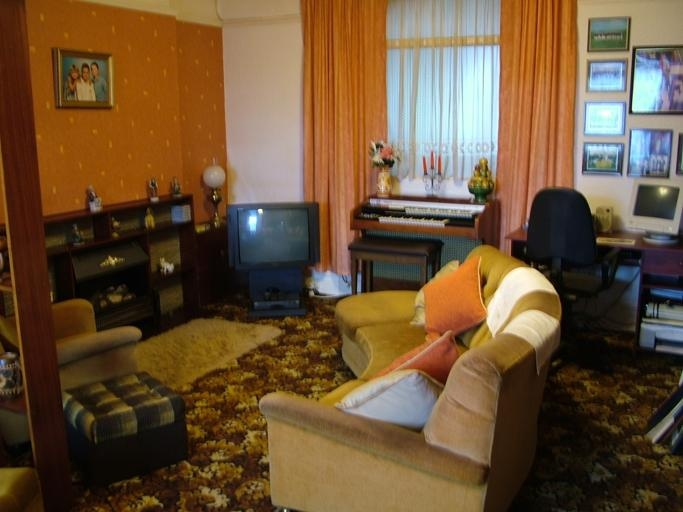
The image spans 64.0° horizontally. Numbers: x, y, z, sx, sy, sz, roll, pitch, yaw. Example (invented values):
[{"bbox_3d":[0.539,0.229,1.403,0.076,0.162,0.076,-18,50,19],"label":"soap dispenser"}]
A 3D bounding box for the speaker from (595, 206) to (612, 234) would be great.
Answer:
[{"bbox_3d":[2.250,-0.300,4.704,0.176,0.282,0.094,7,11,38],"label":"speaker"}]

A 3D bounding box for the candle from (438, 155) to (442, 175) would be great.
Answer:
[{"bbox_3d":[0.952,-0.881,5.353,0.038,0.200,0.103,2,14,16],"label":"candle"}]

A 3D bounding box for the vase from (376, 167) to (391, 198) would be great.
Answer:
[{"bbox_3d":[0.417,-0.745,5.478,0.132,0.284,0.085,-5,13,-10],"label":"vase"}]

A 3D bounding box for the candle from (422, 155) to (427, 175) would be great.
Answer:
[{"bbox_3d":[0.823,-0.890,5.424,0.046,0.190,0.044,0,13,10],"label":"candle"}]

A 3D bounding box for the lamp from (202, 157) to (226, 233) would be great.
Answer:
[{"bbox_3d":[-1.370,-0.673,5.852,0.234,0.668,0.441,-6,14,-15],"label":"lamp"}]

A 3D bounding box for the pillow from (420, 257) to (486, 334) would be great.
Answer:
[{"bbox_3d":[0.699,0.265,3.421,0.131,0.476,0.442,20,-33,-26],"label":"pillow"}]

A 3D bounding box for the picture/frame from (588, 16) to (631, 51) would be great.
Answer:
[{"bbox_3d":[2.274,-1.883,4.616,0.255,0.260,0.029,3,18,17],"label":"picture/frame"}]

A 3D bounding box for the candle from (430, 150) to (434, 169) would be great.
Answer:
[{"bbox_3d":[0.888,-0.936,5.355,0.036,0.181,0.129,3,15,20],"label":"candle"}]

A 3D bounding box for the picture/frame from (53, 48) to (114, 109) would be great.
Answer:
[{"bbox_3d":[-2.088,-1.420,4.363,0.035,0.396,0.493,3,9,24],"label":"picture/frame"}]

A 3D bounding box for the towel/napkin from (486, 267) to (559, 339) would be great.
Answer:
[{"bbox_3d":[1.046,0.244,3.052,0.261,0.343,0.339,12,21,-4],"label":"towel/napkin"}]

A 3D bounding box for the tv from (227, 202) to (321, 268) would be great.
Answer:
[{"bbox_3d":[-0.661,-0.207,5.234,0.918,0.804,0.551,-1,6,-5],"label":"tv"}]

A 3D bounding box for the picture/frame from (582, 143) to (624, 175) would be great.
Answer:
[{"bbox_3d":[2.298,-0.855,4.785,0.226,0.259,0.026,6,14,22],"label":"picture/frame"}]

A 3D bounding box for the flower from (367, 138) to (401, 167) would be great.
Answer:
[{"bbox_3d":[0.418,-0.999,5.440,0.329,0.284,0.306,-1,15,6],"label":"flower"}]

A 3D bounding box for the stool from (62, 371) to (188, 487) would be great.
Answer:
[{"bbox_3d":[-1.257,0.956,3.179,0.499,0.444,0.519,-3,9,-32],"label":"stool"}]

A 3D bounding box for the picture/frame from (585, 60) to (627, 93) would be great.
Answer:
[{"bbox_3d":[2.274,-1.545,4.684,0.236,0.244,0.027,4,12,22],"label":"picture/frame"}]
